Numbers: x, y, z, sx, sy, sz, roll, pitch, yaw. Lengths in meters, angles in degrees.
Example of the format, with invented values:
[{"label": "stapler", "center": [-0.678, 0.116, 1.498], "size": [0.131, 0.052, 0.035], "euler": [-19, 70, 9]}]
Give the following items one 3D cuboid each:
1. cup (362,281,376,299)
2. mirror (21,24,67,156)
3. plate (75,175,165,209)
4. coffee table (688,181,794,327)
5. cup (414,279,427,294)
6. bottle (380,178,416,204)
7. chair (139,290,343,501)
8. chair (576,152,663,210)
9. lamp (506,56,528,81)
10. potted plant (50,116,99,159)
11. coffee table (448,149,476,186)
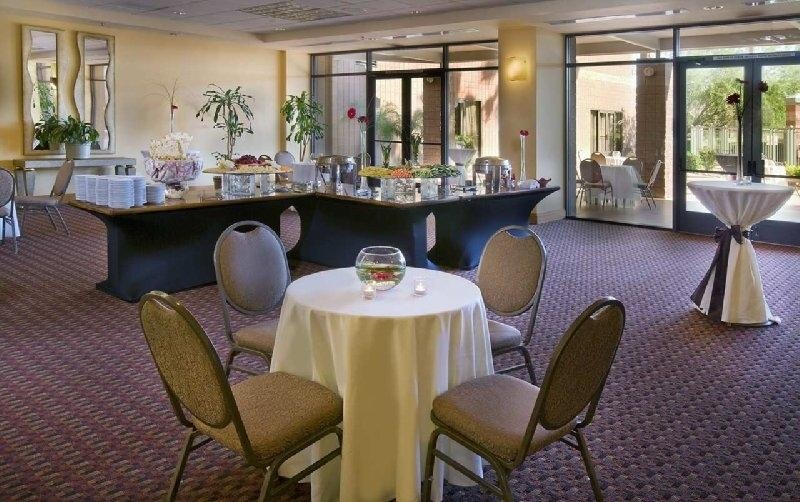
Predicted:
[{"label": "cup", "center": [-0.177, 0.229, 2.923], "size": [0.088, 0.096, 0.085], "euler": [0, 2, 0]}, {"label": "mirror", "center": [-6.628, -2.936, 9.463], "size": [0.788, 2.271, 0.194], "euler": [-7, 14, -27]}, {"label": "plate", "center": [-2.927, -0.611, 5.224], "size": [0.860, 0.300, 0.456], "euler": [2, 13, 8]}, {"label": "coffee table", "center": [3.274, 0.026, 4.999], "size": [0.847, 1.308, 0.488], "euler": [7, 15, 30]}, {"label": "cup", "center": [0.114, 0.212, 2.940], "size": [0.068, 0.077, 0.067], "euler": [0, 3, 0]}, {"label": "bottle", "center": [-0.034, -0.671, 5.748], "size": [0.334, 0.238, 0.331], "euler": [1, 8, 0]}, {"label": "chair", "center": [-0.858, 0.832, 2.806], "size": [0.714, 1.258, 0.859], "euler": [19, 28, 40]}, {"label": "chair", "center": [4.146, -1.367, 9.686], "size": [1.249, 0.851, 0.885], "euler": [13, 18, 40]}, {"label": "lamp", "center": [2.043, -3.186, 9.031], "size": [0.385, 0.431, 0.388], "euler": [2, 11, 11]}, {"label": "potted plant", "center": [-6.071, -2.095, 9.576], "size": [0.781, 0.677, 0.782], "euler": [2, 2, 41]}, {"label": "coffee table", "center": [1.236, -1.720, 10.624], "size": [0.589, 0.743, 0.603], "euler": [4, 4, 11]}]
